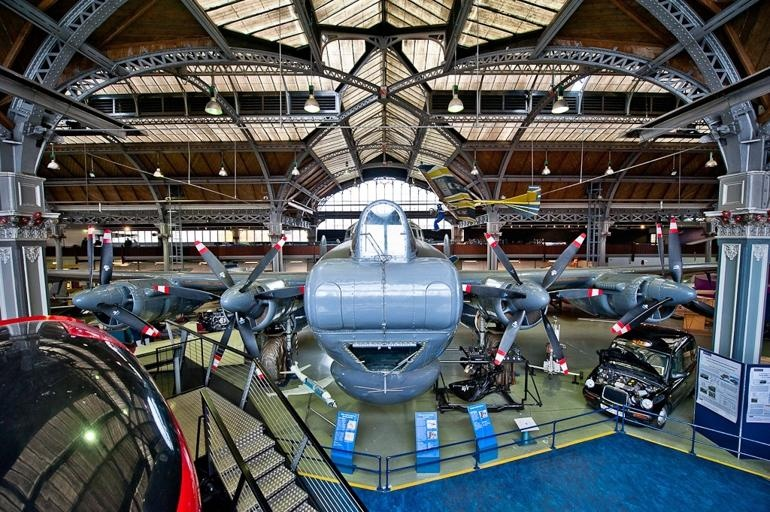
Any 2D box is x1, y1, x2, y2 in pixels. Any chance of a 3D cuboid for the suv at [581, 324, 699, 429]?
[{"bbox_3d":[11.380,4.560,20.370,6.125,2.455,3.578,-21,26,-40],"label":"suv"}]
